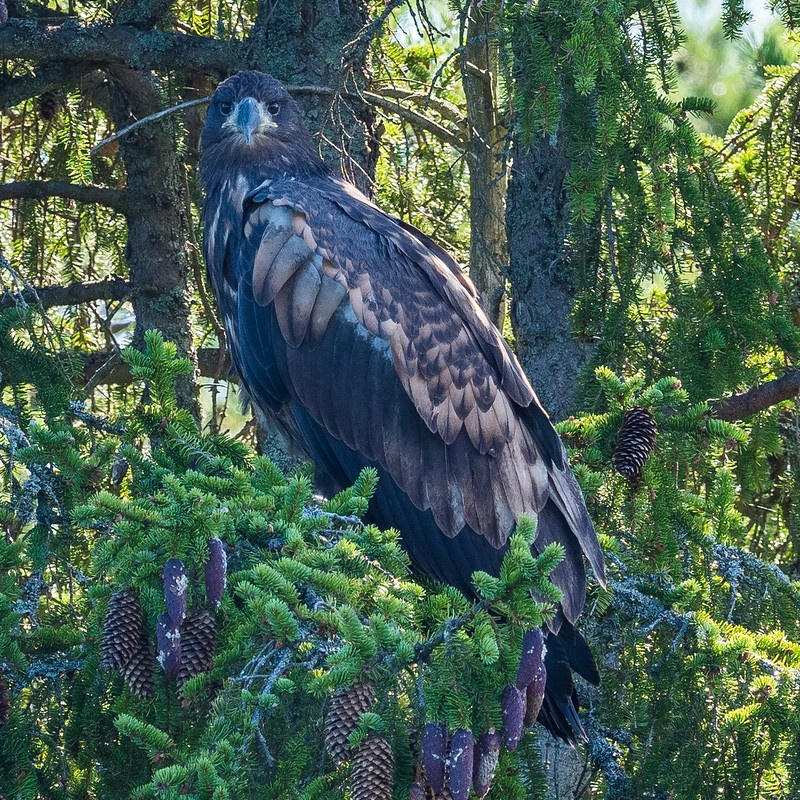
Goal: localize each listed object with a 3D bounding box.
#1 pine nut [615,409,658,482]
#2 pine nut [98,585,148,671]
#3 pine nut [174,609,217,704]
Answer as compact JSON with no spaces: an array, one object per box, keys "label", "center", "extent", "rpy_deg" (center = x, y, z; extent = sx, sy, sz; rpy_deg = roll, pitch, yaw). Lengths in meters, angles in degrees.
[{"label":"pine nut","center":[1.074,0.193,10.918],"extent":[0.207,0.309,0.130],"rpy_deg":[-13,-35,7]},{"label":"pine nut","center":[-1.127,0.927,9.803],"extent":[0.176,0.286,0.121],"rpy_deg":[-1,-35,-9]},{"label":"pine nut","center":[-0.823,1.030,9.834],"extent":[0.165,0.274,0.166],"rpy_deg":[-3,-36,-7]}]
